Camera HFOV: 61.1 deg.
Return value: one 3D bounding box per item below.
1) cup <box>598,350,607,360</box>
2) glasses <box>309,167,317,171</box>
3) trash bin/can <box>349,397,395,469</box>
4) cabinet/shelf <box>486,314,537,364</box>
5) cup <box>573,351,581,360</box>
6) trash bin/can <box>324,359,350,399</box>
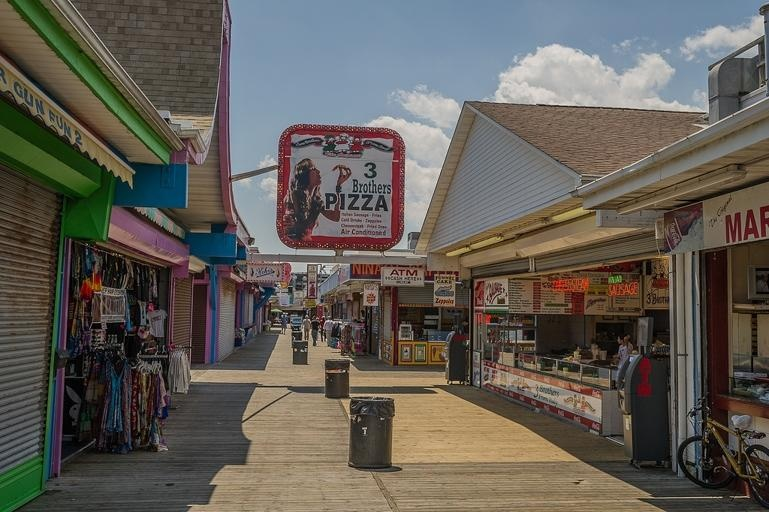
[{"bbox_3d":[6.125,2.743,18.114,0.255,0.270,0.250,0,-7,0],"label":"cup"},{"bbox_3d":[-2.284,-2.802,20.659,0.133,0.127,0.066,-4,-3,-5],"label":"glasses"},{"bbox_3d":[-0.192,2.995,11.004,0.832,1.068,0.845,8,-17,-19],"label":"trash bin/can"},{"bbox_3d":[3.937,2.392,19.657,1.785,1.572,0.981,-5,-7,39],"label":"cabinet/shelf"},{"bbox_3d":[5.431,2.787,18.327,0.250,0.244,0.138,0,0,24],"label":"cup"},{"bbox_3d":[-1.244,3.243,17.404,0.687,1.001,0.479,2,-2,-16],"label":"trash bin/can"}]
